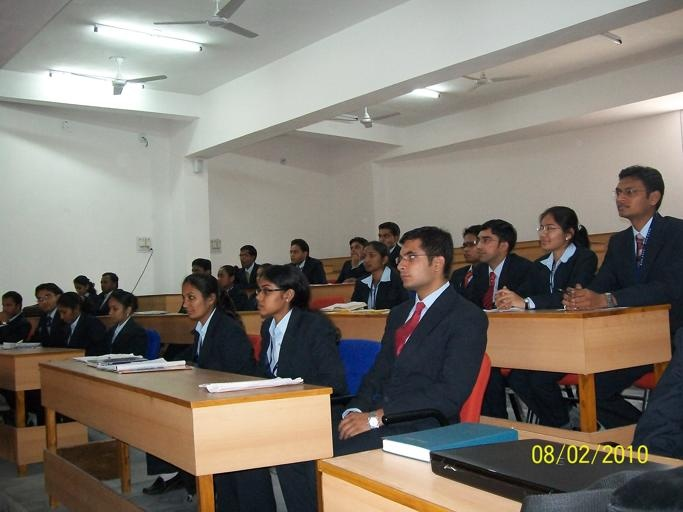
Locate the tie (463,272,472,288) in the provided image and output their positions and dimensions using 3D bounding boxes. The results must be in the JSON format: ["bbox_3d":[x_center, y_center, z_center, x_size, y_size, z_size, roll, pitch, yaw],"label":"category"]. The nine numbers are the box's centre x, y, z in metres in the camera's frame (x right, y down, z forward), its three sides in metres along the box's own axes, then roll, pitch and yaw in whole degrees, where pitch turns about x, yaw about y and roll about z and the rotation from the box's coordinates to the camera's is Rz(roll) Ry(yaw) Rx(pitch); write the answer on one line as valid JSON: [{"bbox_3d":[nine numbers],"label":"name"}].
[{"bbox_3d":[1.112,0.211,4.580,0.044,0.120,0.088,24,-18,-28],"label":"tie"}]

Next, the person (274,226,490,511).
[{"bbox_3d":[0.300,0.335,2.249,0.676,0.958,0.628,0,-1,-1],"label":"person"}]

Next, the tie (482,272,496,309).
[{"bbox_3d":[1.160,0.290,4.080,0.083,0.303,0.092,6,-11,16],"label":"tie"}]

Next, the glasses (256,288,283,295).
[{"bbox_3d":[-0.373,0.190,2.836,0.086,0.023,0.083,12,-14,-44],"label":"glasses"}]

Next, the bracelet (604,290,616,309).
[{"bbox_3d":[1.531,0.245,2.987,0.051,0.075,0.079,-5,30,22],"label":"bracelet"}]

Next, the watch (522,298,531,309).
[{"bbox_3d":[1.206,0.312,3.394,0.033,0.052,0.069,-1,33,13],"label":"watch"}]

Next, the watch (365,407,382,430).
[{"bbox_3d":[0.140,0.662,2.125,0.052,0.078,0.079,3,22,16],"label":"watch"}]
